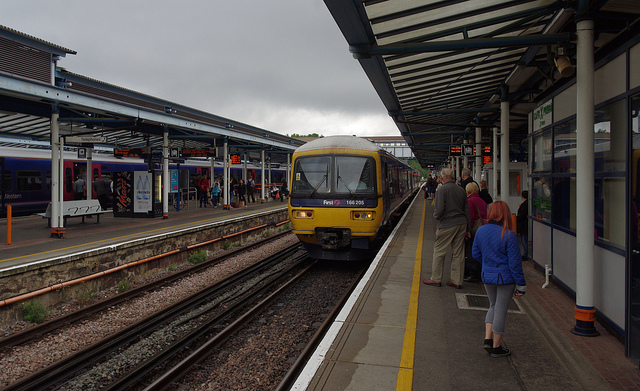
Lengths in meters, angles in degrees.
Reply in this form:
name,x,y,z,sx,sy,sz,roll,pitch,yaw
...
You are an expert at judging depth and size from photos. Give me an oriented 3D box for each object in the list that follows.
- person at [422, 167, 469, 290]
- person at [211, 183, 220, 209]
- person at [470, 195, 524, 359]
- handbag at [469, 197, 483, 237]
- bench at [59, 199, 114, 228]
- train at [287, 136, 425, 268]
name,x,y,z,sx,sy,sz,roll,pitch,yaw
person,3.128,0.855,10.065,0.983,2.941,0.599,-1,11,10
person,-6.566,0.051,26.052,0.415,1.524,0.530,-5,12,-13
person,3.245,1.523,7.582,0.658,2.741,0.681,-5,12,-14
handbag,3.920,0.573,10.408,0.312,0.925,0.769,3,13,24
bench,-9.486,0.764,16.493,0.765,0.669,2.196,32,7,8
train,1.032,0.253,14.562,2.844,4.649,4.153,2,13,20
